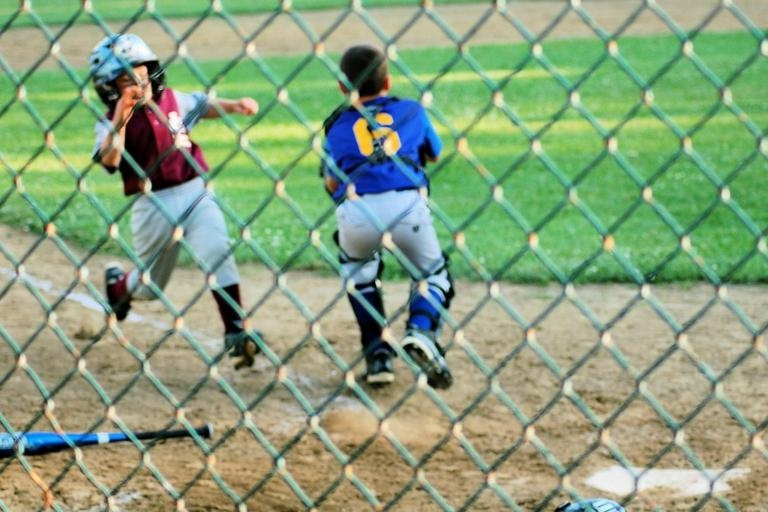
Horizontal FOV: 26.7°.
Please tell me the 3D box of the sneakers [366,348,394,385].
[{"bbox_3d":[-0.033,0.832,12.005,0.183,0.279,0.281,1,-6,-2],"label":"sneakers"}]
